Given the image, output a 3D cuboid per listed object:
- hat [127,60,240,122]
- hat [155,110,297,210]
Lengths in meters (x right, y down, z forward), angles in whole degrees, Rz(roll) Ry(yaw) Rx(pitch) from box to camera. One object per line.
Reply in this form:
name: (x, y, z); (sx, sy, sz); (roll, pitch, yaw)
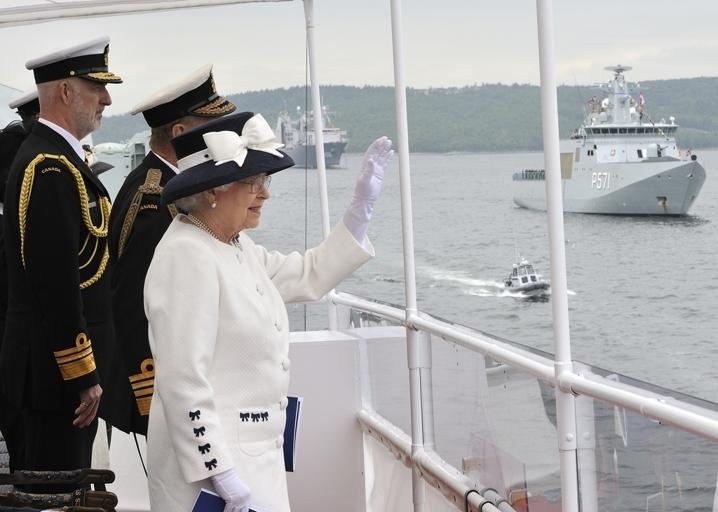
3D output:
hat: (-0.791, -0.755, 4.512); (0.388, 0.147, 0.287); (-14, 13, -16)
hat: (-0.513, -0.391, 3.829); (0.429, 0.196, 0.413); (-14, 11, 39)
